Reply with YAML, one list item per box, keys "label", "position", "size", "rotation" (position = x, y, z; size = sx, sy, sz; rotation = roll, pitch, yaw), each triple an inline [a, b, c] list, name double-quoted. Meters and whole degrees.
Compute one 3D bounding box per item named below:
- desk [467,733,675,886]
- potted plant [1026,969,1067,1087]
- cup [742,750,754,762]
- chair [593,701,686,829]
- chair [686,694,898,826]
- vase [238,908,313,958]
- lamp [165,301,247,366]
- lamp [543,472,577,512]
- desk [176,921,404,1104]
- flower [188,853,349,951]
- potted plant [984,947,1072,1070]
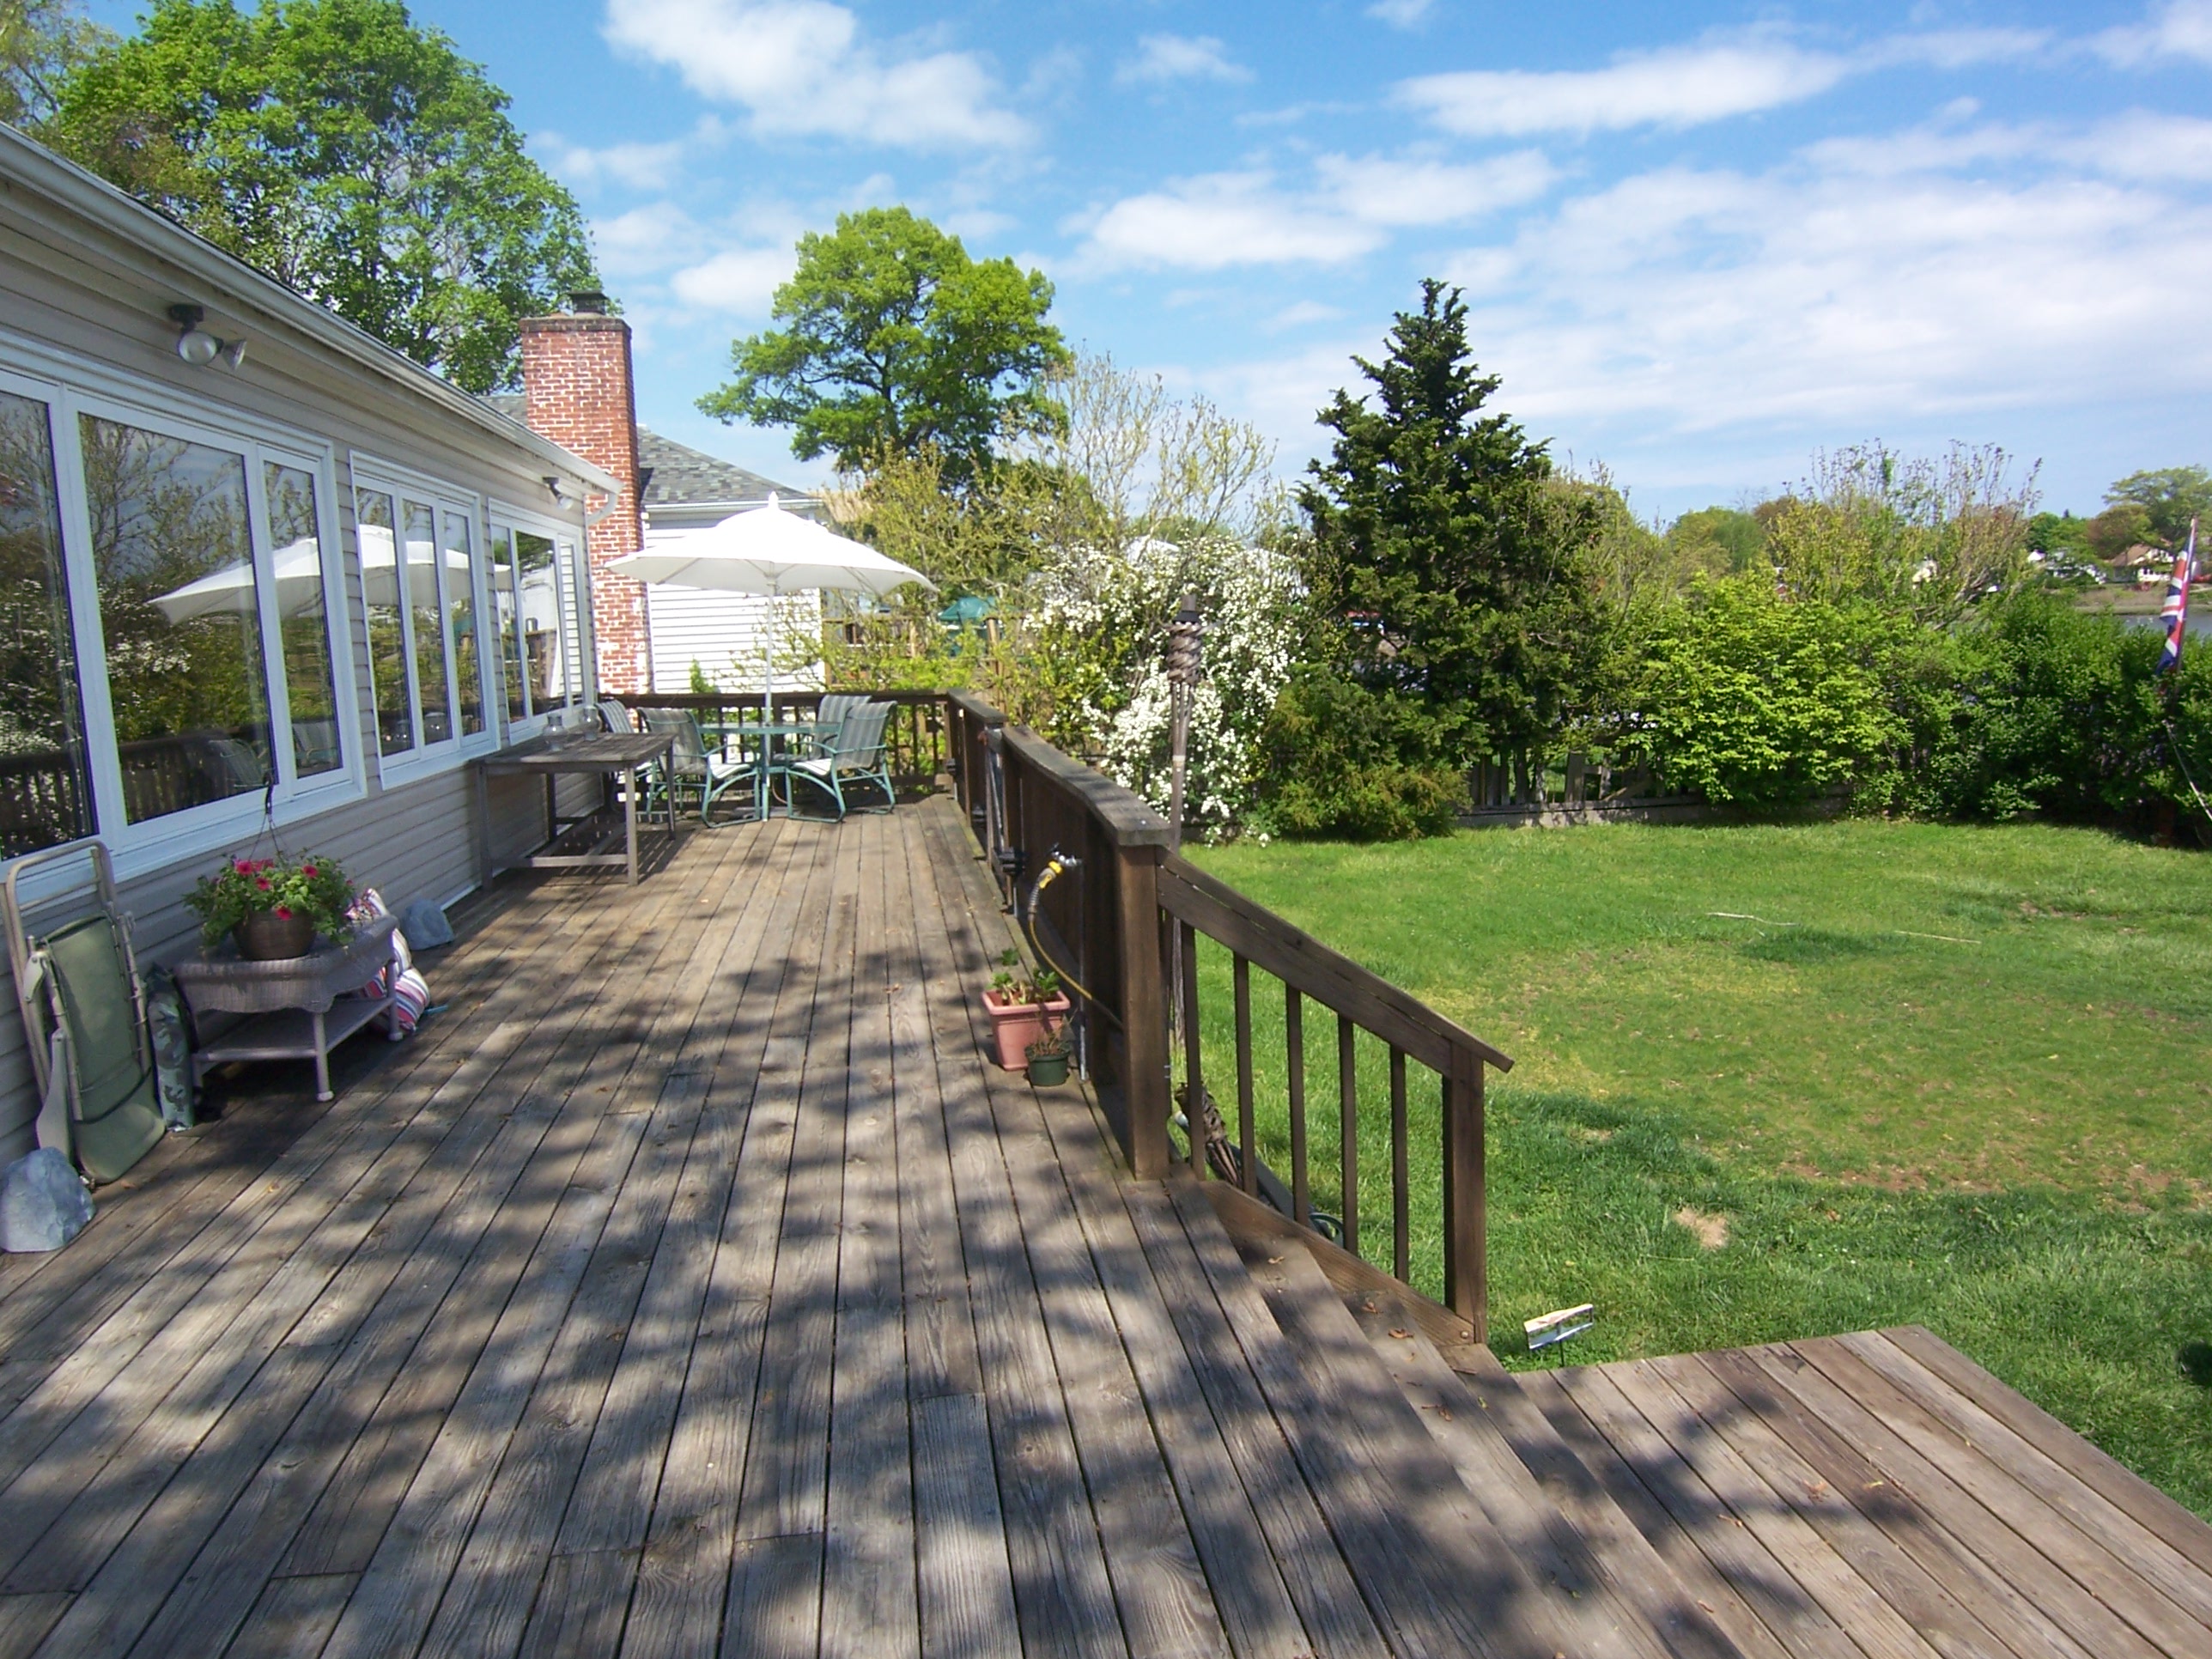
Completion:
- label: "desk"
  position: [-3.343, 0.106, 9.847]
  size: [0.777, 0.825, 1.674]
  rotation: [-1, 10, -8]
- label: "potted plant"
  position: [-0.210, 0.748, 5.886]
  size: [0.264, 0.388, 0.342]
  rotation: [-1, 5, -9]
- label: "cup"
  position: [-3.198, -0.669, 13.823]
  size: [0.101, 0.120, 0.110]
  rotation: [0, -1, 0]
- label: "chair"
  position: [-3.449, -0.448, 11.351]
  size: [0.265, 0.476, 0.980]
  rotation: [-3, 19, -7]
- label: "chair"
  position: [-2.576, -0.647, 12.801]
  size: [1.445, 1.013, 2.539]
  rotation: [-3, 10, -12]
- label: "vase"
  position: [-3.097, 0.390, 5.743]
  size: [0.182, 0.150, 0.197]
  rotation: [0, -3, -4]
- label: "lamp"
  position: [-3.658, -2.004, 6.238]
  size: [0.192, 0.214, 0.416]
  rotation: [-2, 10, -10]
- label: "lamp"
  position: [-4.236, -2.636, 11.982]
  size: [0.206, 0.250, 0.338]
  rotation: [4, 5, -19]
- label: "desk"
  position: [-3.139, 0.490, 5.904]
  size: [0.492, 0.522, 0.924]
  rotation: [0, 4, -4]
- label: "flower"
  position: [-3.142, 0.281, 5.805]
  size: [0.394, 0.329, 0.422]
  rotation: [-4, -3, 23]
- label: "potted plant"
  position: [-0.339, 0.580, 6.133]
  size: [0.289, 0.228, 0.257]
  rotation: [25, 43, 20]
